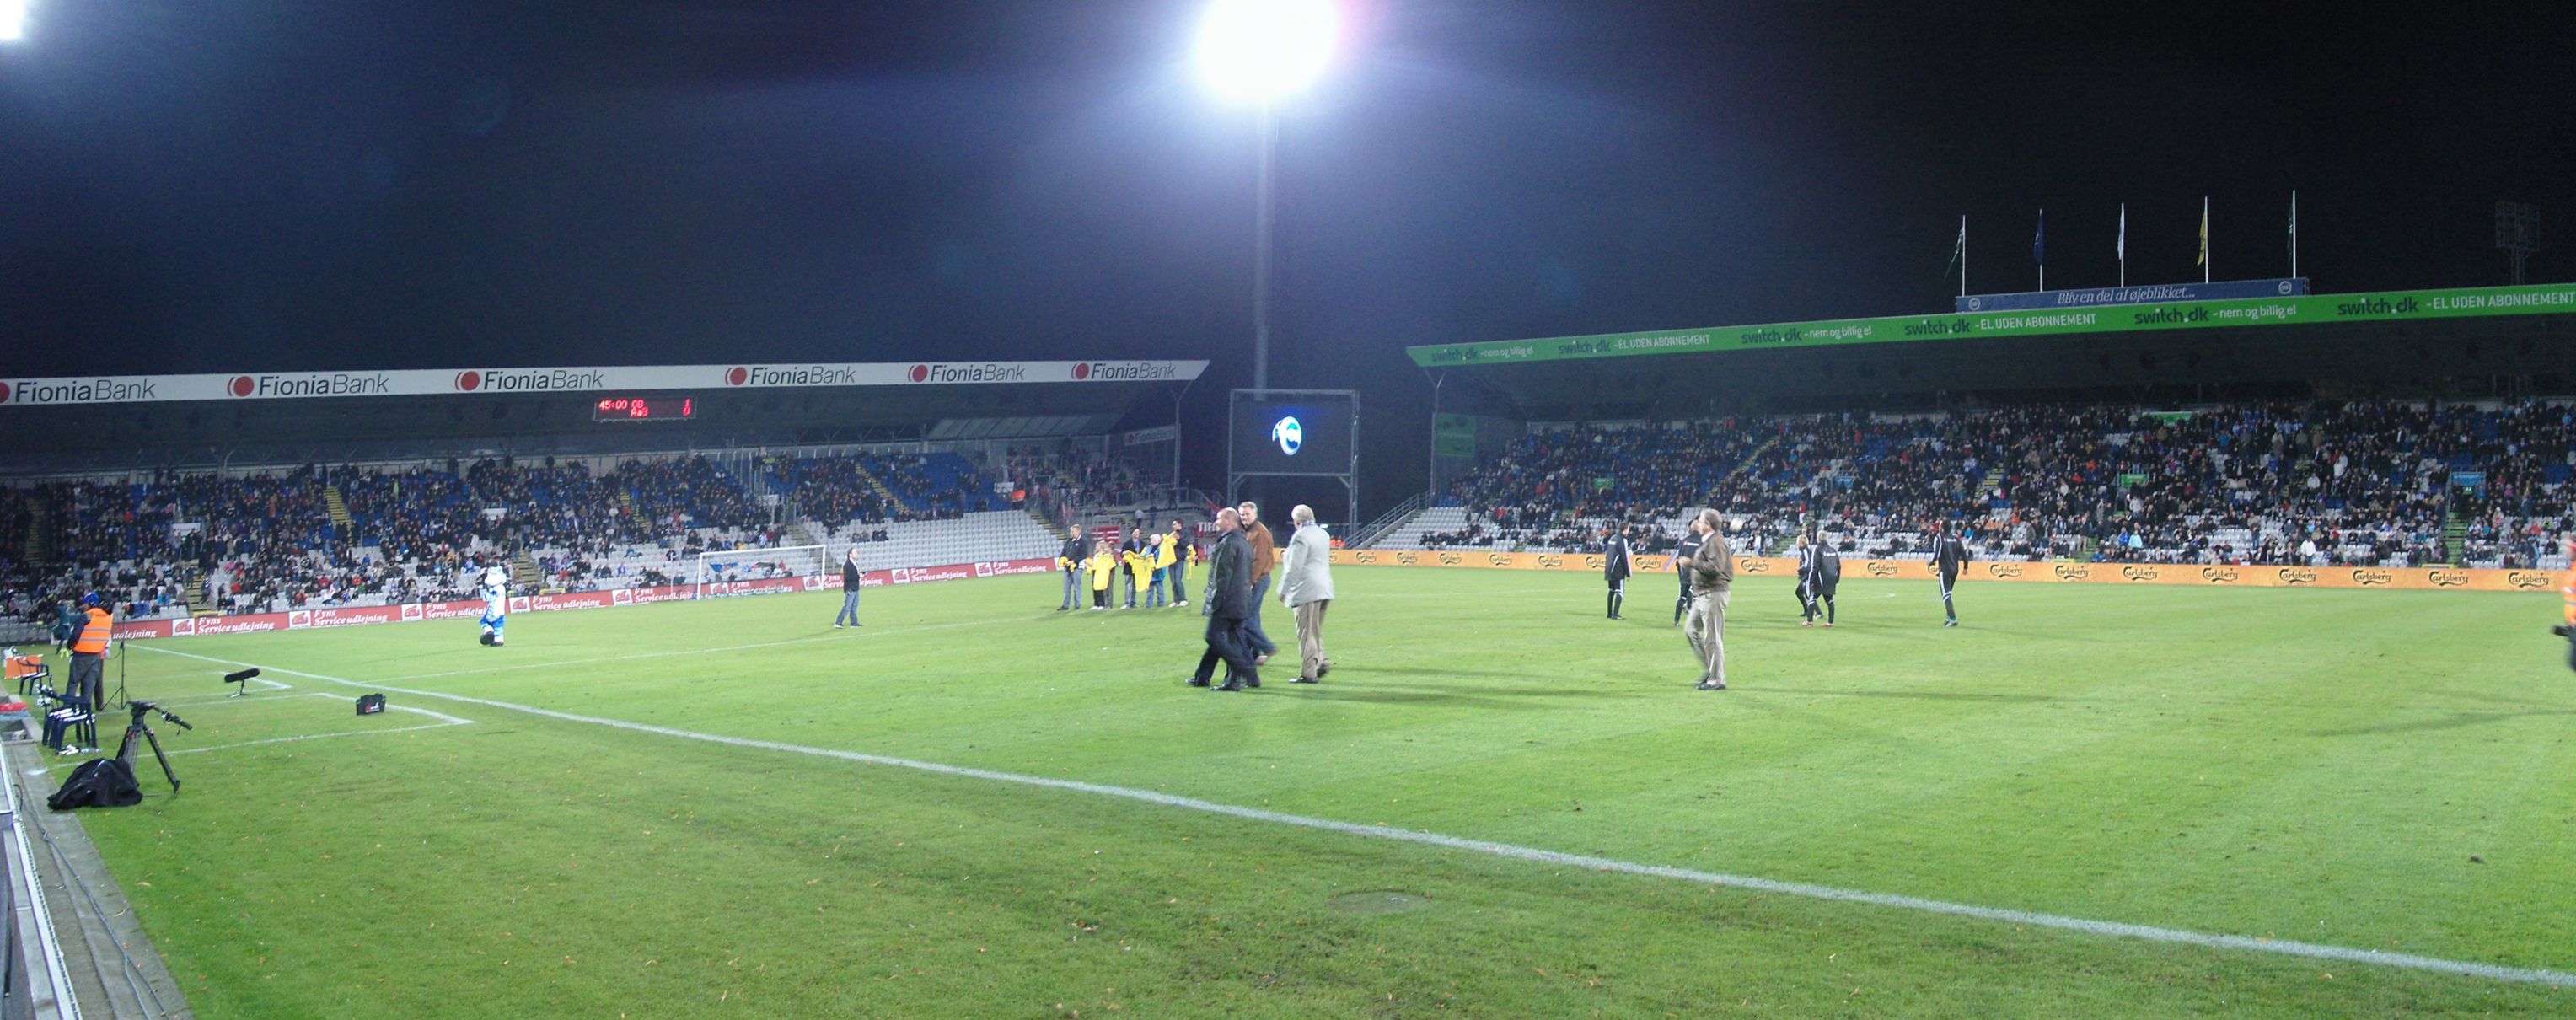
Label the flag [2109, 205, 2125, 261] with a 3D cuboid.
[{"bbox_3d":[48.415,-16.268,88.603,0.713,2.427,2.574,-5,0,30],"label":"flag"}]

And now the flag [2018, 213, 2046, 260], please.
[{"bbox_3d":[44.249,-16.284,89.763,1.069,2.055,1.416,-5,1,2],"label":"flag"}]
